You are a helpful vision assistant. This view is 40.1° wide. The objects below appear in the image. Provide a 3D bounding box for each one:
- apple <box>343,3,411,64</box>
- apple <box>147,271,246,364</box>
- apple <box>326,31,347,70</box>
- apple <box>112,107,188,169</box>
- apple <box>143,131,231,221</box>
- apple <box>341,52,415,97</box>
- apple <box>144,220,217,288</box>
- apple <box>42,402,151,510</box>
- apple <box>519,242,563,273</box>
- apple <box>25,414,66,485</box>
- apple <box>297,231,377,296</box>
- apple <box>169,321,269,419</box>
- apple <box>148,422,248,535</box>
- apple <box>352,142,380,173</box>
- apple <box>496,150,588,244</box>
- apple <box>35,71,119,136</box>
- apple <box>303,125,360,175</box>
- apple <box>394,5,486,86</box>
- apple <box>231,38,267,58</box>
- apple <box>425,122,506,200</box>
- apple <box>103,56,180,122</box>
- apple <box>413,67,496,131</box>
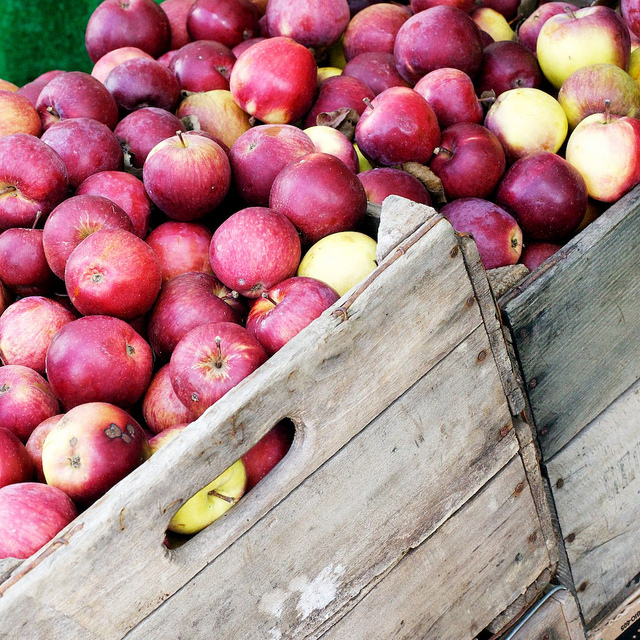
[{"bbox_3d":[0.164,-0.726,2.381,0.139,0.163,0.194,8,51,24],"label":"apple"},{"bbox_3d":[-0.219,-0.004,1.662,0.154,0.168,0.212,20,83,-4],"label":"apple"},{"bbox_3d":[0.046,-0.754,2.448,0.064,0.087,0.077,2,62,-4],"label":"apple"},{"bbox_3d":[-0.396,-0.400,1.958,0.103,0.106,0.141,6,89,-33],"label":"apple"},{"bbox_3d":[-0.274,-0.314,1.777,0.170,0.215,0.209,-5,42,-10],"label":"apple"},{"bbox_3d":[0.146,-0.595,2.122,0.134,0.115,0.134,7,87,46],"label":"apple"},{"bbox_3d":[-0.276,-0.150,1.814,0.123,0.122,0.169,13,100,44],"label":"apple"},{"bbox_3d":[-0.364,0.206,1.456,0.137,0.159,0.178,-2,94,-1],"label":"apple"},{"bbox_3d":[0.468,-0.139,1.866,0.066,0.089,0.084,1,89,-3],"label":"apple"},{"bbox_3d":[-0.450,0.214,1.433,0.058,0.061,0.079,19,45,-29],"label":"apple"},{"bbox_3d":[0.023,-0.111,1.670,0.134,0.124,0.133,-10,70,-20],"label":"apple"},{"bbox_3d":[-0.155,0.067,1.454,0.129,0.171,0.167,5,88,0],"label":"apple"},{"bbox_3d":[-0.173,0.233,1.267,0.093,0.109,0.115,-26,34,-14],"label":"apple"},{"bbox_3d":[0.107,-0.370,2.044,0.053,0.073,0.066,-1,64,0],"label":"apple"},{"bbox_3d":[0.480,-0.239,1.899,0.159,0.171,0.221,-8,61,28],"label":"apple"},{"bbox_3d":[-0.551,-0.484,2.001,0.142,0.168,0.144,21,27,21],"label":"apple"},{"bbox_3d":[0.029,-0.386,1.984,0.094,0.104,0.138,8,82,-9],"label":"apple"},{"bbox_3d":[0.287,-0.642,2.156,0.188,0.190,0.215,21,94,17],"label":"apple"},{"bbox_3d":[-0.187,-0.723,2.308,0.075,0.060,0.050,-28,92,28],"label":"apple"},{"bbox_3d":[0.326,-0.344,1.910,0.152,0.155,0.184,9,88,-39],"label":"apple"},{"bbox_3d":[-0.423,-0.517,2.105,0.139,0.151,0.198,-5,80,9],"label":"apple"},{"bbox_3d":[0.303,-0.510,2.002,0.166,0.162,0.162,-4,30,-12],"label":"apple"}]
